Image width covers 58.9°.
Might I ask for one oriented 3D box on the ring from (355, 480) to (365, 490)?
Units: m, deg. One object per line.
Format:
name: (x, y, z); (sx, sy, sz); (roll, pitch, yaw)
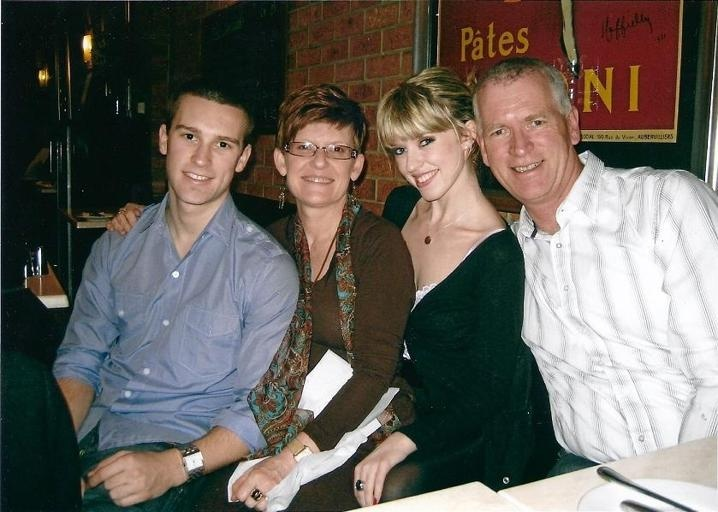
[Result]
ring: (0.004, 0.661, 1.820); (0.027, 0.024, 0.006); (-12, -20, 22)

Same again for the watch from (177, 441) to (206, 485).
watch: (-0.455, 0.569, 1.749); (0.066, 0.090, 0.091); (0, -29, -33)

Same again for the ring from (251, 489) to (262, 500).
ring: (-0.273, 0.644, 1.710); (0.022, 0.021, 0.015); (-39, -10, -21)
